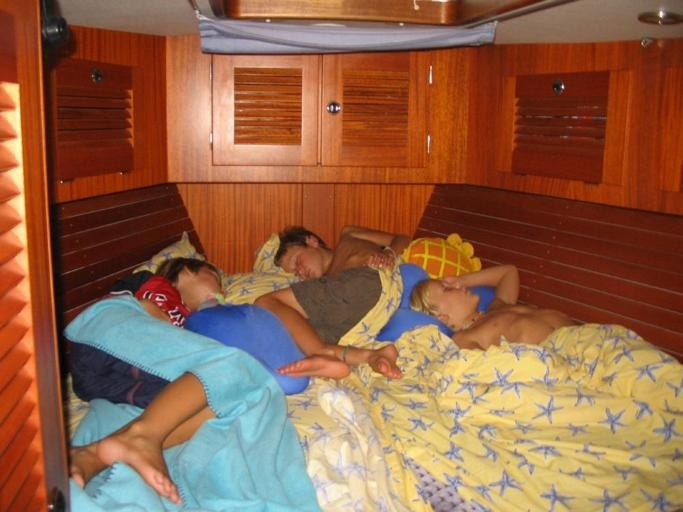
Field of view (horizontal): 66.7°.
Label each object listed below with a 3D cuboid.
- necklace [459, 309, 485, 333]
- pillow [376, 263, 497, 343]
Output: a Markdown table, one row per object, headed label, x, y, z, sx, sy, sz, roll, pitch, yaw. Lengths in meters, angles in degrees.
| label | x | y | z | sx | sy | sz | roll | pitch | yaw |
| --- | --- | --- | --- | --- | --- | --- | --- | --- | --- |
| necklace | 0.516 | 0.255 | 2.102 | 0.036 | 0.093 | 0.071 | 37 | 2 | 8 |
| pillow | 0.382 | 0.207 | 2.066 | 0.385 | 0.093 | 0.316 | 26 | 53 | -4 |
